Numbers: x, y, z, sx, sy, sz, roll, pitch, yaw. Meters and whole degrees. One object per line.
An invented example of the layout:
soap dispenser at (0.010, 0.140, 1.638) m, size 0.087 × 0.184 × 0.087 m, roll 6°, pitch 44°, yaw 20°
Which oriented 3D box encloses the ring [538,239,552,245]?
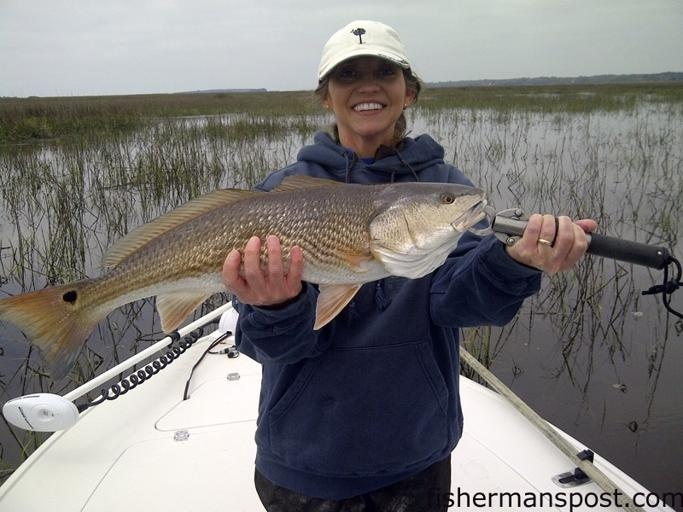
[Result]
ring at (1.340, -0.093, 3.724) m, size 0.083 × 0.044 × 0.023 m, roll 1°, pitch 10°, yaw 23°
